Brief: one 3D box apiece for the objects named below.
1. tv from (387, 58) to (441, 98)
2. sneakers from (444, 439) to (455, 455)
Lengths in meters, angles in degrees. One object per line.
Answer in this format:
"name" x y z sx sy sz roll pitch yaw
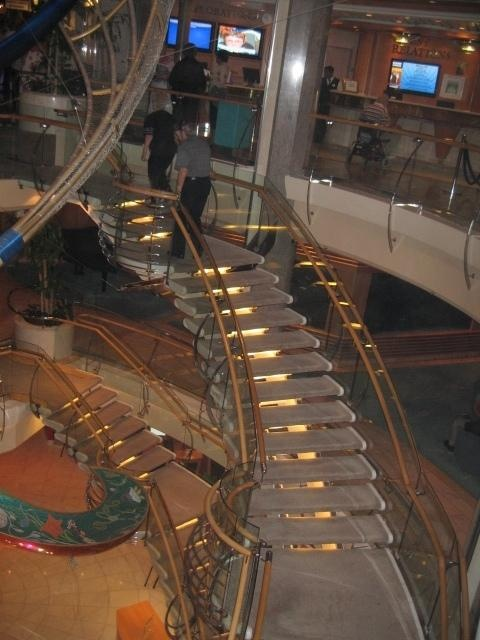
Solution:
"tv" 2.904 -3.987 8.920 0.949 0.656 0.249 19 13 41
"sneakers" 3.034 1.813 7.830 0.091 0.040 0.158 -14 34 1
